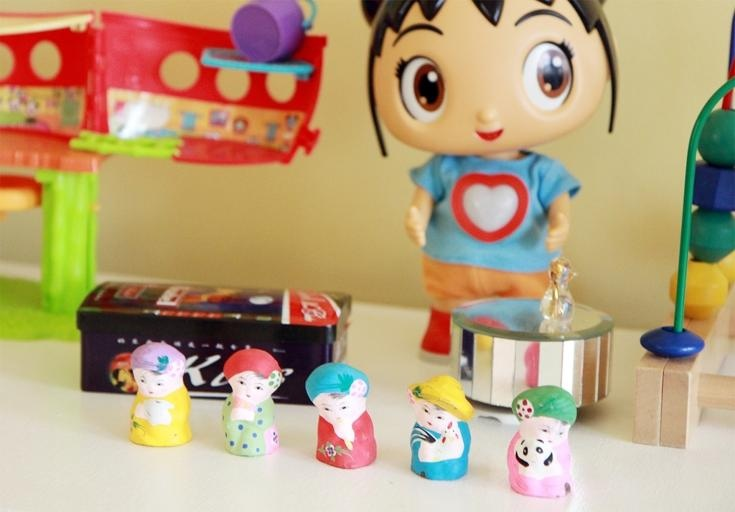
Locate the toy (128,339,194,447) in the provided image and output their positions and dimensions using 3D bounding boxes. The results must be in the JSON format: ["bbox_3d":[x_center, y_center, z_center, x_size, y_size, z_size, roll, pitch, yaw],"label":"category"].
[{"bbox_3d":[-0.221,0.146,0.724,0.068,0.105,0.058,2,6,13],"label":"toy"}]

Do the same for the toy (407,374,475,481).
[{"bbox_3d":[0.070,0.171,0.677,0.072,0.095,0.061,4,7,36],"label":"toy"}]

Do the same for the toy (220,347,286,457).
[{"bbox_3d":[-0.119,0.153,0.706,0.066,0.113,0.054,2,5,-23],"label":"toy"}]

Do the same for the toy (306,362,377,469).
[{"bbox_3d":[-0.027,0.161,0.691,0.070,0.104,0.054,-2,8,9],"label":"toy"}]

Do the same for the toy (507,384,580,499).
[{"bbox_3d":[0.171,0.177,0.659,0.064,0.109,0.073,6,5,17],"label":"toy"}]
